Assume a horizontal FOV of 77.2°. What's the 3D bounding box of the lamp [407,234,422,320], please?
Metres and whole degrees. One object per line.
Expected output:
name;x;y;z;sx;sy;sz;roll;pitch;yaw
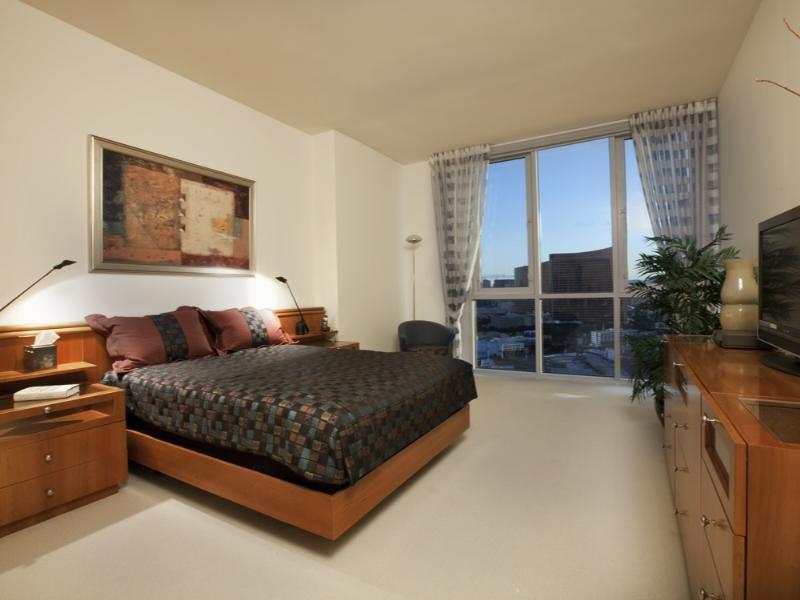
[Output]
lamp;0.169;-0.285;6.593;0.221;1.023;0.252;3;15;15

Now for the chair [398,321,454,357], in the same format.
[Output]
chair;0.268;0.417;5.803;0.456;0.486;0.443;1;-8;-18

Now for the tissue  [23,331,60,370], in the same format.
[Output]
tissue ;-2.401;0.336;3.334;0.250;0.327;0.178;2;-1;-40

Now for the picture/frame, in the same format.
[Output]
picture/frame;-1.943;-0.769;4.161;0.050;0.944;1.393;2;1;34
